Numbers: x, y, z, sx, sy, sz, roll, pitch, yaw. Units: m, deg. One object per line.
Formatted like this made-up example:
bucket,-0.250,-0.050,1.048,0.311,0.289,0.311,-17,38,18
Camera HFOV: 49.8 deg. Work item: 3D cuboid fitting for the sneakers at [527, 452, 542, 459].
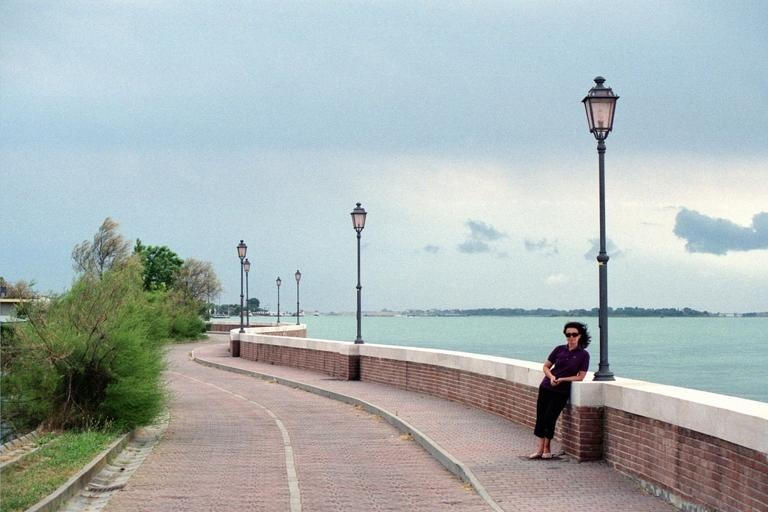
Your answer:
sneakers,2.878,3.808,15.767,0.267,0.119,0.105,-1,-4,2

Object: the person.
person,3.347,2.558,15.756,1.081,2.583,0.573,-1,-2,12
